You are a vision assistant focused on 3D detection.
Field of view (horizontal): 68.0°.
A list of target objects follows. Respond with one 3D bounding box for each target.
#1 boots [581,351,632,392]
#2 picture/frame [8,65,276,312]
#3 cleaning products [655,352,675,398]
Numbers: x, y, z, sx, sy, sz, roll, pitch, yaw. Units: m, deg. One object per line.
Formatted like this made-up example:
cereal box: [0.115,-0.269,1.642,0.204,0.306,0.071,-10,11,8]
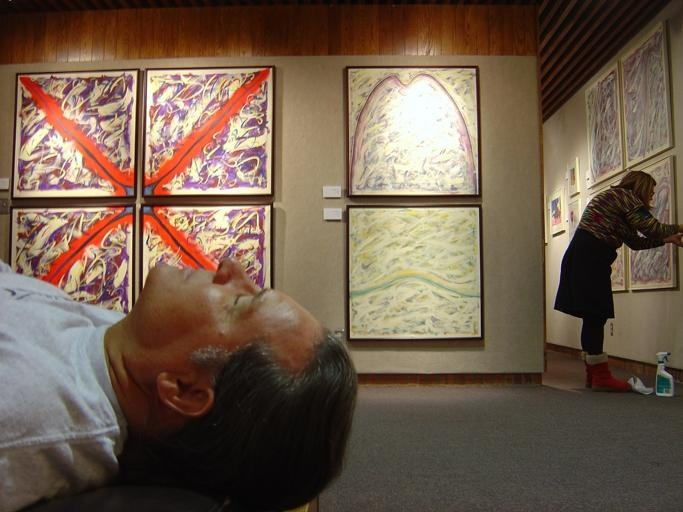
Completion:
boots: [1.842,0.798,3.493,0.281,0.260,0.184,-3,-6,29]
picture/frame: [-1.375,-0.485,3.602,1.652,1.972,0.033,0,-1,3]
cleaning products: [2.137,0.776,3.343,0.102,0.267,0.288,-4,-6,35]
